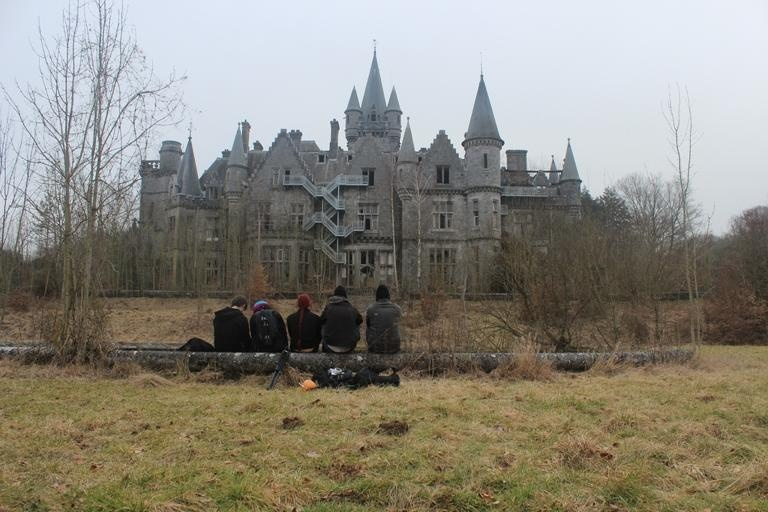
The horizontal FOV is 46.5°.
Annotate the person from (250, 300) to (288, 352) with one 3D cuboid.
[{"bbox_3d":[-3.095,1.994,23.315,0.904,1.303,0.756,-6,-30,1],"label":"person"}]

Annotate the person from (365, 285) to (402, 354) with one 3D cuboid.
[{"bbox_3d":[-0.042,1.624,23.667,1.151,1.780,1.388,0,0,-32],"label":"person"}]

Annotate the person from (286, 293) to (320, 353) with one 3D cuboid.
[{"bbox_3d":[-2.090,1.721,23.084,0.861,1.531,0.661,-4,-6,31],"label":"person"}]

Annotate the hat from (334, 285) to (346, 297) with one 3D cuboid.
[{"bbox_3d":[-1.142,0.921,23.323,0.236,0.265,0.302,-1,-1,-8],"label":"hat"}]

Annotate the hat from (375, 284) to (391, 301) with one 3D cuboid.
[{"bbox_3d":[-0.042,0.971,23.538,0.421,0.419,0.345,-2,1,0],"label":"hat"}]

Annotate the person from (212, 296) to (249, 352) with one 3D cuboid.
[{"bbox_3d":[-3.935,1.762,23.107,0.929,1.460,0.433,0,-5,-9],"label":"person"}]

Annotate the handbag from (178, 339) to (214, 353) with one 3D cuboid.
[{"bbox_3d":[-4.876,2.318,23.227,0.947,0.368,0.587,-1,-5,-4],"label":"handbag"}]
